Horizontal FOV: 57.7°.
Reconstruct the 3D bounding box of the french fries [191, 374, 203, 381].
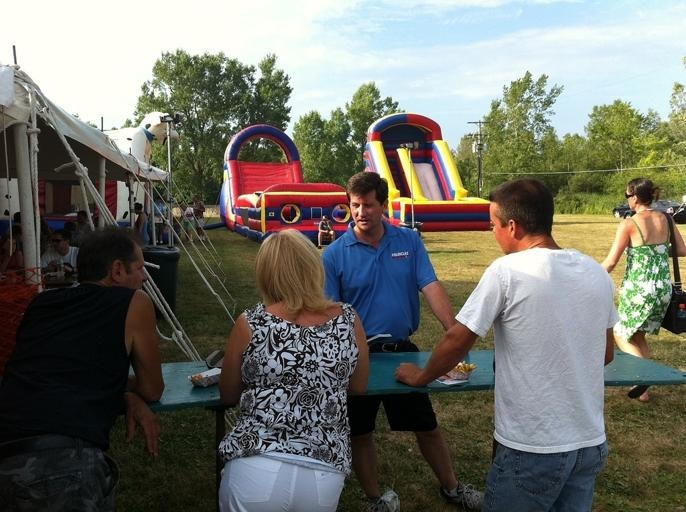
[{"bbox_3d":[-0.819,0.687,3.493,0.070,0.033,0.021,-3,5,23],"label":"french fries"}]
